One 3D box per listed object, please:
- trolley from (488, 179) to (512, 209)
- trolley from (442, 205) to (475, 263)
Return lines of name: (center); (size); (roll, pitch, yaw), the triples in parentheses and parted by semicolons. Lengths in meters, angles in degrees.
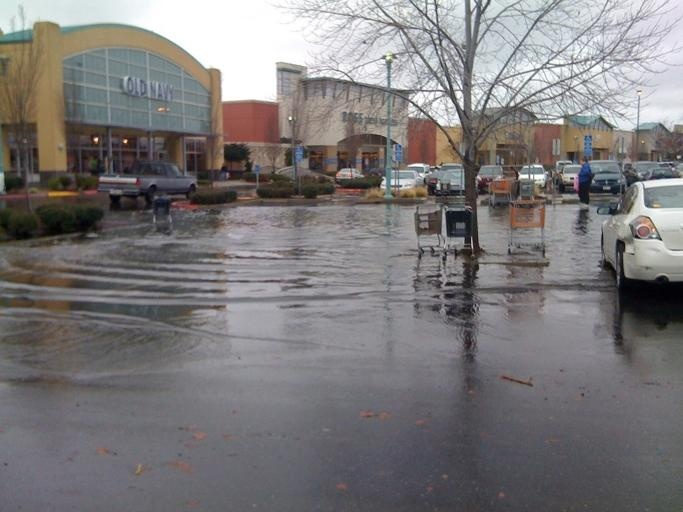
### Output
trolley: (8.137, -3.182, 30.435); (0.841, 1.449, 2.608); (1, 9, 9)
trolley: (2.973, -0.700, 14.827); (0.714, 1.255, 0.739); (1, 6, 32)
